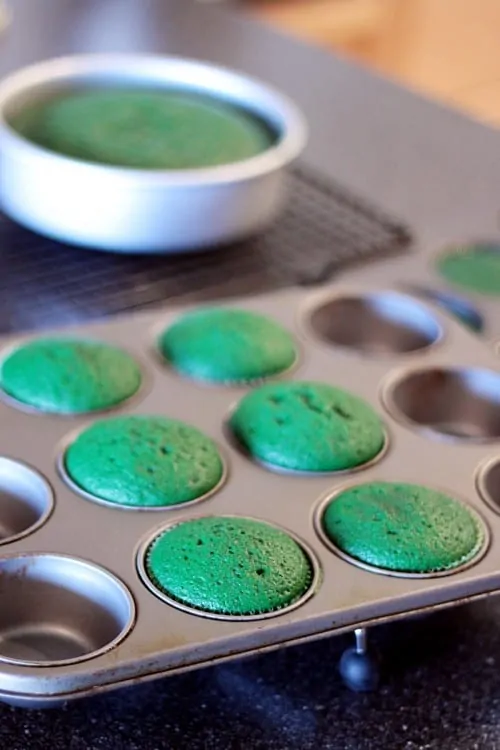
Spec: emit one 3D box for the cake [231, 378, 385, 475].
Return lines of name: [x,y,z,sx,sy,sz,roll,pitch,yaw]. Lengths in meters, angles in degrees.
cake: [0.032,0.029,0.415,0.069,0.012,0.056,5,35,0]

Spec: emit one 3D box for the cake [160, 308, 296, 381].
cake: [-0.013,-0.019,0.445,0.083,0.040,0.040,-2,26,-6]
